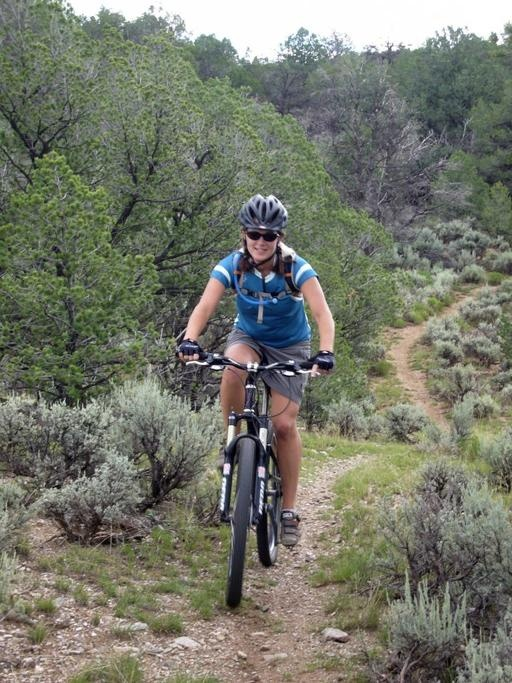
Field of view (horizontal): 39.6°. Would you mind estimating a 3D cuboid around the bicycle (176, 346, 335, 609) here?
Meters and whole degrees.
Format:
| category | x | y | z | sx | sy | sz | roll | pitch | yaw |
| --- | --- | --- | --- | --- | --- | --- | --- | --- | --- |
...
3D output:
| category | x | y | z | sx | sy | sz | roll | pitch | yaw |
| --- | --- | --- | --- | --- | --- | --- | --- | --- | --- |
| bicycle | -0.044 | 0.835 | 4.571 | 0.898 | 1.365 | 1.069 | 8 | 2 | 6 |
